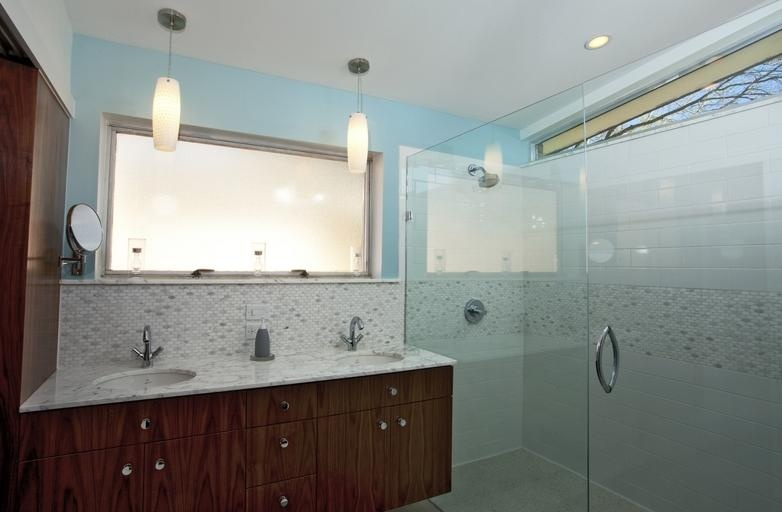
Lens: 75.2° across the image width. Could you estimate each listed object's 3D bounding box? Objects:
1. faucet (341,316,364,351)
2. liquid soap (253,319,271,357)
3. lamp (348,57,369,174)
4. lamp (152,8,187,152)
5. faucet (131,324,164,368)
[{"bbox_3d":[-0.266,0.601,3.872,0.215,0.262,0.187,8,-19,-38],"label":"faucet"},{"bbox_3d":[-0.899,0.610,3.556,0.116,0.223,0.067,-2,-2,-19],"label":"liquid soap"},{"bbox_3d":[-0.226,-1.005,3.748,0.176,0.837,0.633,-3,-2,-2],"label":"lamp"},{"bbox_3d":[-1.426,-1.111,3.298,0.210,0.929,0.548,-2,-2,-21],"label":"lamp"},{"bbox_3d":[-1.652,0.607,3.426,0.283,0.289,0.109,1,-8,-27],"label":"faucet"}]
